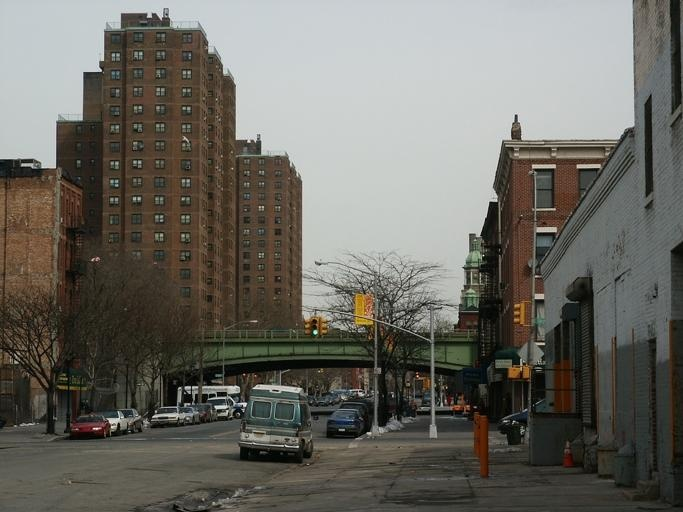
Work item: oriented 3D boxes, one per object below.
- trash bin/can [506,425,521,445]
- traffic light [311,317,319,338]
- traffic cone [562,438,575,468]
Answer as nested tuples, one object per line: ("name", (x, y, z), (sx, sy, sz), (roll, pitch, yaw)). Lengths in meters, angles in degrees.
("trash bin/can", (8.033, 8.301, 62.070), (0.601, 0.958, 0.670), (-1, -12, 5))
("traffic light", (-1.311, 3.427, 66.011), (0.421, 0.972, 0.812), (1, -12, -3))
("traffic cone", (8.765, 7.501, 50.374), (0.660, 1.064, 0.748), (-3, -8, 17))
